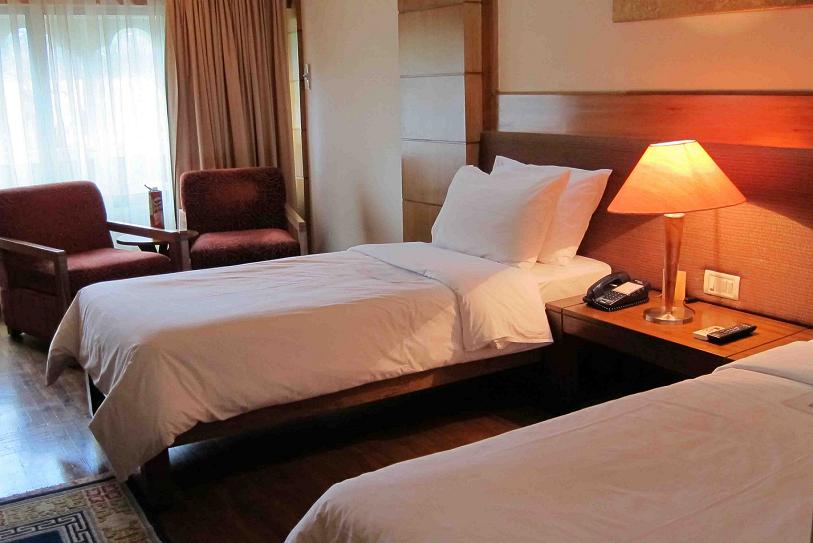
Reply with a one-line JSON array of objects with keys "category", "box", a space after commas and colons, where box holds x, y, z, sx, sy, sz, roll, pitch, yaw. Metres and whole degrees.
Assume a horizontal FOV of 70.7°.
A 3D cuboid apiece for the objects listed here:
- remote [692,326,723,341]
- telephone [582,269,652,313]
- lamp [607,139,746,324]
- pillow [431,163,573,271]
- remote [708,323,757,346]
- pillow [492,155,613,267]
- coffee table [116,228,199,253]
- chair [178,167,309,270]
[{"category": "remote", "box": [1.328, 0.266, 2.540, 0.085, 0.019, 0.083, -18, 15, -32]}, {"category": "telephone", "box": [1.108, 0.090, 3.012, 0.328, 0.106, 0.244, -17, 23, -33]}, {"category": "lamp", "box": [1.270, -0.196, 2.715, 0.527, 0.835, 0.303, -5, 15, -14]}, {"category": "pillow", "box": [0.585, -0.313, 3.358, 0.250, 0.434, 0.697, 6, 1, -40]}, {"category": "remote", "box": [1.435, 0.258, 2.533, 0.299, 0.059, 0.085, -11, 23, -32]}, {"category": "pillow", "box": [0.949, -0.349, 3.344, 0.613, 0.578, 0.178, 18, 3, 19]}, {"category": "coffee table", "box": [-2.188, -0.241, 4.750, 0.372, 0.128, 0.371, 9, 10, 31]}, {"category": "chair", "box": [-1.481, -0.535, 5.285, 1.130, 1.025, 1.063, -7, 14, -26]}]
